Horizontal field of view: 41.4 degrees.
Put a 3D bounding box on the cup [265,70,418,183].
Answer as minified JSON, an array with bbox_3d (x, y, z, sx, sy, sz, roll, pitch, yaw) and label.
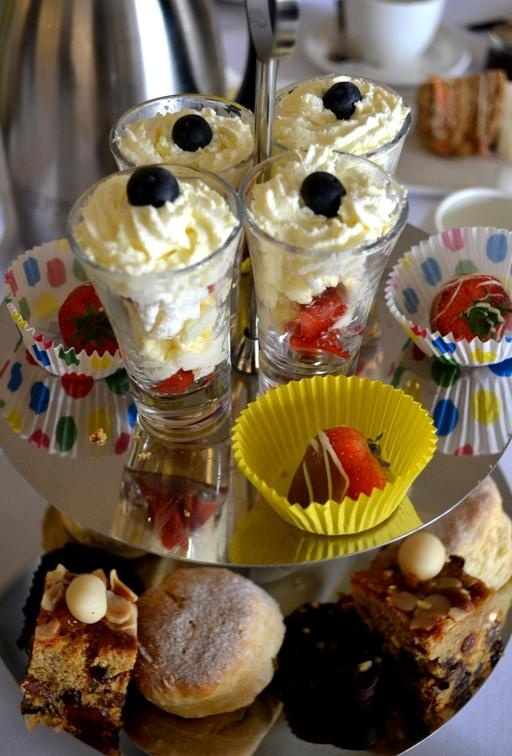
[{"bbox_3d":[0.090,-0.254,0.715,0.134,0.090,0.131,0,43,0],"label":"cup"}]

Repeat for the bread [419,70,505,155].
[{"bbox_3d":[0.318,-0.468,1.193,0.169,0.154,0.116,-4,27,0],"label":"bread"}]

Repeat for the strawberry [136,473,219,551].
[{"bbox_3d":[-0.073,0.116,0.623,0.061,0.045,0.057,-8,30,-39],"label":"strawberry"}]

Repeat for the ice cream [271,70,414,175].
[{"bbox_3d":[0.090,-0.251,0.714,0.131,0.088,0.126,0,44,0],"label":"ice cream"}]

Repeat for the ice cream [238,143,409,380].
[{"bbox_3d":[0.060,-0.075,0.635,0.141,0.249,0.130,3,41,6],"label":"ice cream"}]

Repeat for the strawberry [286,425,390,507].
[{"bbox_3d":[0.068,0.082,0.601,0.084,0.051,0.069,-10,40,-10],"label":"strawberry"}]

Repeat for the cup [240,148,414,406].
[{"bbox_3d":[0.051,-0.088,0.647,0.143,0.203,0.119,-9,52,-10],"label":"cup"}]

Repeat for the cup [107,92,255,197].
[{"bbox_3d":[-0.063,-0.233,0.691,0.157,0.074,0.147,-2,45,2],"label":"cup"}]
